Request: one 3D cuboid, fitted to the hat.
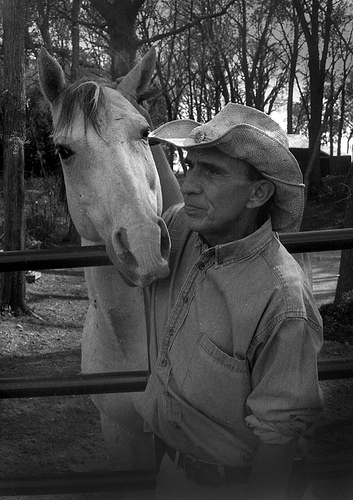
[{"bbox_3d":[0.191,-0.241,2.154,0.395,0.394,0.200,1,10,-1],"label":"hat"}]
